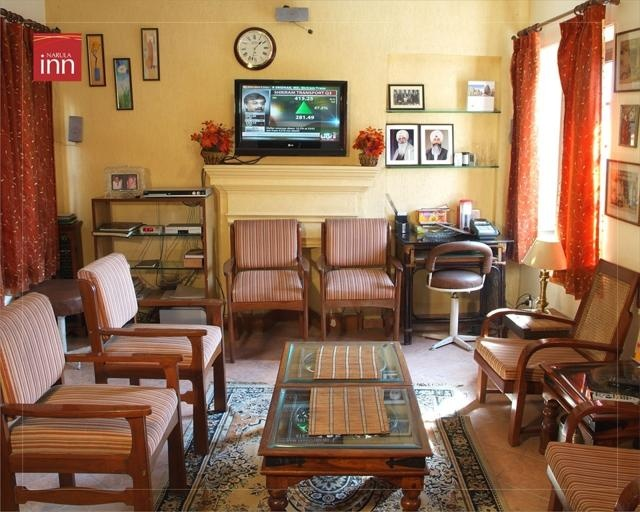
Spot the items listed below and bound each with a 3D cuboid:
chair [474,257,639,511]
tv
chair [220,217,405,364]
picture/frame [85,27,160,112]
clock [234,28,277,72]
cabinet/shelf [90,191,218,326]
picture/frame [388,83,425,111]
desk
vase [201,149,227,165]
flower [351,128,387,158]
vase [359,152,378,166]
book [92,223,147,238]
[{"bbox_3d":[1.517,0.540,3.274,0.920,0.937,0.819,-3,14,-5],"label":"chair"},{"bbox_3d":[-0.287,-1.261,4.580,0.758,0.461,0.077,1,10,-1],"label":"tv"},{"bbox_3d":[-0.063,0.256,4.292,1.277,0.780,0.458,-1,10,-4],"label":"chair"},{"bbox_3d":[-1.746,-1.659,4.588,0.647,0.702,0.097,-2,14,1],"label":"picture/frame"},{"bbox_3d":[-0.589,-1.855,4.581,0.389,0.349,0.050,1,8,-2],"label":"clock"},{"bbox_3d":[-1.493,0.023,4.639,0.949,1.113,0.445,-4,9,-13],"label":"cabinet/shelf"},{"bbox_3d":[0.791,-1.453,4.702,0.284,0.181,0.019,0,4,-2],"label":"picture/frame"},{"bbox_3d":[1.158,0.293,4.762,0.974,0.830,0.710,-1,0,-7],"label":"desk"},{"bbox_3d":[-0.957,-0.880,4.587,0.161,0.097,0.152,1,2,-2],"label":"vase"},{"bbox_3d":[0.445,-1.005,4.702,0.305,0.288,0.298,18,22,10],"label":"flower"},{"bbox_3d":[0.437,-0.870,4.638,0.141,0.084,0.139,0,6,0],"label":"vase"},{"bbox_3d":[-1.780,-0.243,4.555,0.386,0.093,0.384,-5,13,-14],"label":"book"}]
